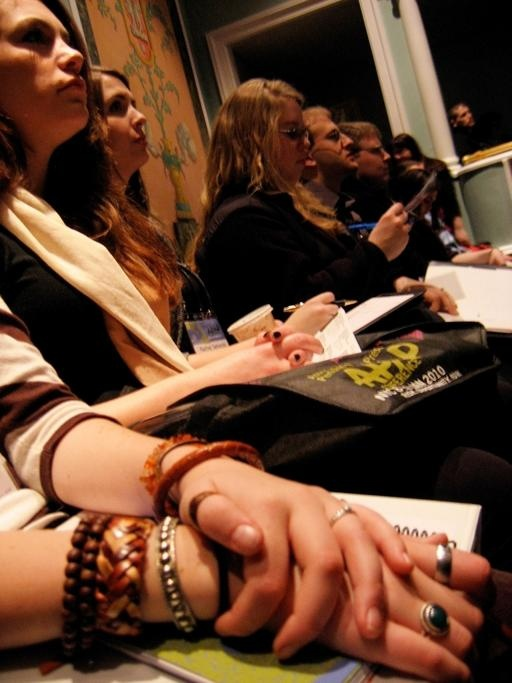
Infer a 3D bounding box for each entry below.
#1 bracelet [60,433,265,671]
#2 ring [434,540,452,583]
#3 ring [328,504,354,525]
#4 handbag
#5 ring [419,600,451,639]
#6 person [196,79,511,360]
[{"bbox_3d":[-0.129,0.207,0.591,0.162,0.206,0.083,5,-6,-11],"label":"bracelet"},{"bbox_3d":[0.192,0.229,0.560,0.008,0.025,0.026,4,33,15],"label":"ring"},{"bbox_3d":[0.088,0.181,0.567,0.019,0.007,0.016,-43,-20,-15],"label":"ring"},{"bbox_3d":[0.157,0.092,0.814,0.328,0.113,0.269,-19,6,-16],"label":"handbag"},{"bbox_3d":[0.168,0.266,0.514,0.021,0.027,0.019,-16,9,46],"label":"ring"},{"bbox_3d":[0.262,-0.668,2.425,1.205,1.193,0.827,-13,19,6],"label":"person"}]
